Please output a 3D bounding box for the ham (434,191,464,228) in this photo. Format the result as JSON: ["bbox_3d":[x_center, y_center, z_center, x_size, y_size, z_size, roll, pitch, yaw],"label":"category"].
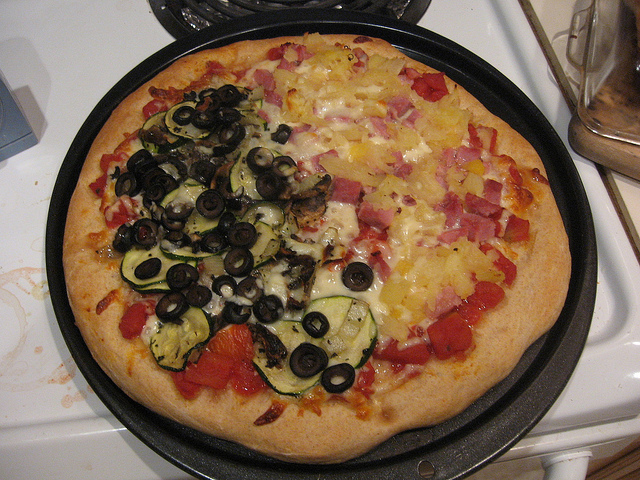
[{"bbox_3d":[0.945,-0.238,5.052,0.270,0.365,0.090,-11,69,5],"label":"ham"}]

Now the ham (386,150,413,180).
[{"bbox_3d":[0.593,-0.538,5.118,0.205,0.057,0.224,21,32,-36],"label":"ham"}]

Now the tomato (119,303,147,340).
[{"bbox_3d":[-1.330,0.582,4.766,0.165,0.089,0.253,7,84,9],"label":"tomato"}]

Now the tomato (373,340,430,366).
[{"bbox_3d":[0.598,0.796,4.706,0.315,0.180,0.109,4,34,4],"label":"tomato"}]

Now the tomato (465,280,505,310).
[{"bbox_3d":[1.208,0.398,4.845,0.273,0.149,0.164,10,53,8],"label":"tomato"}]

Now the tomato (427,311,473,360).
[{"bbox_3d":[0.919,0.675,4.722,0.300,0.102,0.315,-26,102,2],"label":"tomato"}]

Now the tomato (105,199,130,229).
[{"bbox_3d":[-1.509,-0.188,4.934,0.180,0.053,0.201,3,88,2],"label":"tomato"}]

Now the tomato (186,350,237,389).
[{"bbox_3d":[-0.753,0.901,4.624,0.292,0.089,0.237,17,96,-3],"label":"tomato"}]

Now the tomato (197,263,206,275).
[{"bbox_3d":[-0.849,0.198,4.802,0.050,0.022,0.069,12,85,-4],"label":"tomato"}]
